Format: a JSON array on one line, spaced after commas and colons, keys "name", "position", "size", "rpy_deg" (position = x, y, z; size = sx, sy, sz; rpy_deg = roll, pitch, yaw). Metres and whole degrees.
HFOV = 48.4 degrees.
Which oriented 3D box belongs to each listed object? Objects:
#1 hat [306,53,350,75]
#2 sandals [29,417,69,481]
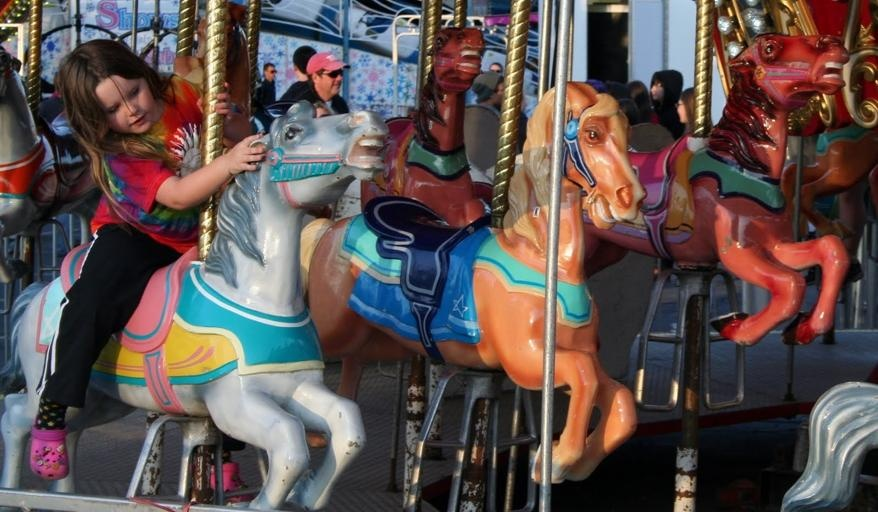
[{"name": "hat", "position": [-0.836, -1.404, 7.249], "size": [0.240, 0.099, 0.170], "rpy_deg": [-2, 8, 25]}, {"name": "sandals", "position": [-1.870, 0.930, 4.681], "size": [0.161, 0.271, 0.266], "rpy_deg": [1, -3, -10]}]
